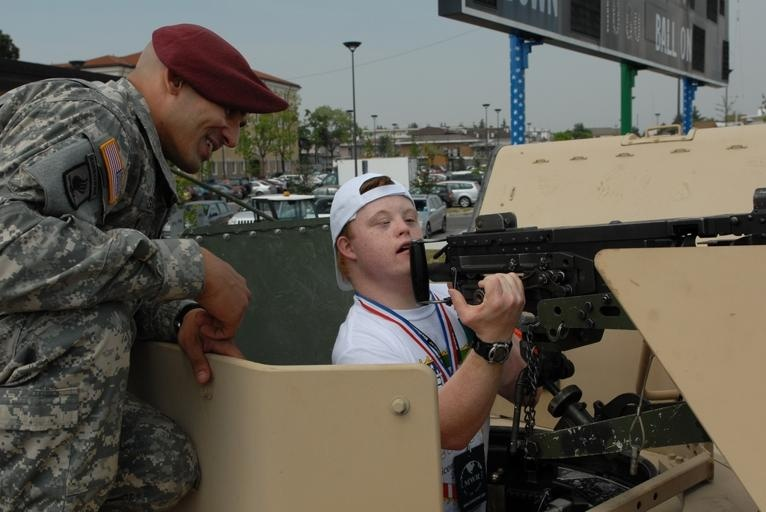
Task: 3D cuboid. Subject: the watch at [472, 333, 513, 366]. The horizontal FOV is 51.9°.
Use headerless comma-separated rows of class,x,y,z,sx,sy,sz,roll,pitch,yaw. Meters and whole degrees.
watch,0.339,0.278,2.448,0.102,0.077,0.116,5,2,20
